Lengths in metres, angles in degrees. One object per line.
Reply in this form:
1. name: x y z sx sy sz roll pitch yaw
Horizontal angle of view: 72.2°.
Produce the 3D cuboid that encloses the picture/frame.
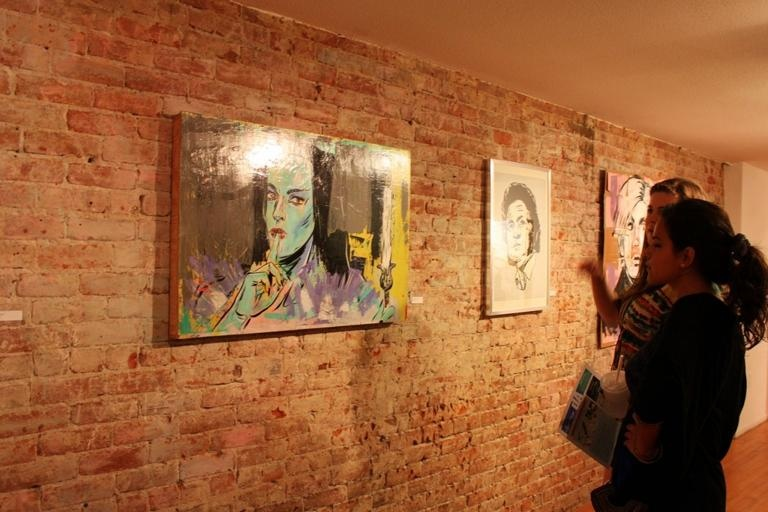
1. picture/frame: 1.015 -0.116 3.944 0.666 0.824 0.057 3 -1 -34
